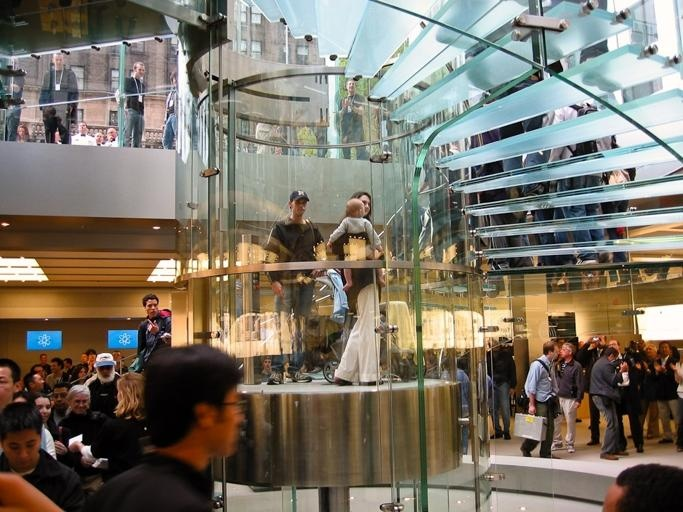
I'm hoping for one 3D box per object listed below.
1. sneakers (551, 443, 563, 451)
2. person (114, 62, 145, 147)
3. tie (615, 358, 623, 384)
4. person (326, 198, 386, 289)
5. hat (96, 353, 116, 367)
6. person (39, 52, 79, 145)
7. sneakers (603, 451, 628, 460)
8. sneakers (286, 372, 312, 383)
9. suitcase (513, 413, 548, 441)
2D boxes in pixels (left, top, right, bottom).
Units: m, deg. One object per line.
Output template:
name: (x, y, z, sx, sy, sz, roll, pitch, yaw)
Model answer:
sneakers: (2.684, 2.349, 7.584, 0.177, 0.077, 0.059, 1, 1, -32)
person: (-3.243, -2.124, 9.293, 0.421, 1.071, 0.435, 2, -9, -19)
tie: (3.322, 1.370, 7.268, 0.091, 0.267, 0.130, -5, -9, 23)
person: (0.120, -0.058, 4.422, 0.366, 0.808, 0.449, 16, 24, 39)
hat: (-2.569, 1.109, 6.581, 0.157, 0.104, 0.215, 0, -17, -16)
person: (-4.153, -2.096, 8.896, 0.523, 0.941, 0.792, 3, -9, -25)
sneakers: (3.270, 2.364, 7.334, 0.099, 0.136, 0.309, 9, -21, -37)
sneakers: (-0.309, 0.868, 4.353, 0.181, 0.079, 0.062, -2, -5, 8)
suitcase: (2.263, 2.004, 7.261, 0.375, 0.356, 0.224, 2, -3, 29)
